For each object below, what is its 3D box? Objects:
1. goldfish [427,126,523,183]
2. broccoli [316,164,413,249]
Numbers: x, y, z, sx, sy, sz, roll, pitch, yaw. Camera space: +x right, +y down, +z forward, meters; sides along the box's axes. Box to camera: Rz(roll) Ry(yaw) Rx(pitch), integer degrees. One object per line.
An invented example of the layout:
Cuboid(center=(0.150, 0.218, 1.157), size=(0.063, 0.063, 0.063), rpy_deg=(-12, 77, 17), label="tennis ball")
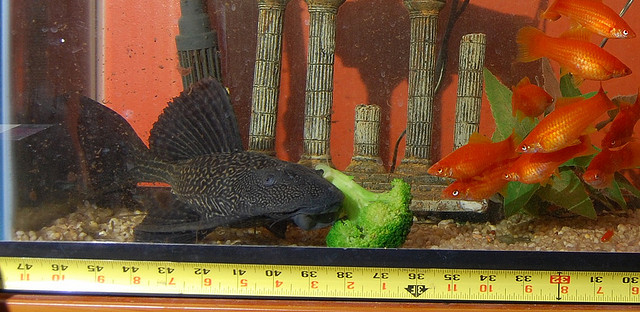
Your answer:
Cuboid(center=(0.776, -0.002, 4.167), size=(0.468, 0.244, 0.074), rpy_deg=(-20, 7, 5), label="goldfish")
Cuboid(center=(0.225, 0.252, 4.229), size=(0.469, 0.421, 0.108), rpy_deg=(-1, 10, 4), label="broccoli")
